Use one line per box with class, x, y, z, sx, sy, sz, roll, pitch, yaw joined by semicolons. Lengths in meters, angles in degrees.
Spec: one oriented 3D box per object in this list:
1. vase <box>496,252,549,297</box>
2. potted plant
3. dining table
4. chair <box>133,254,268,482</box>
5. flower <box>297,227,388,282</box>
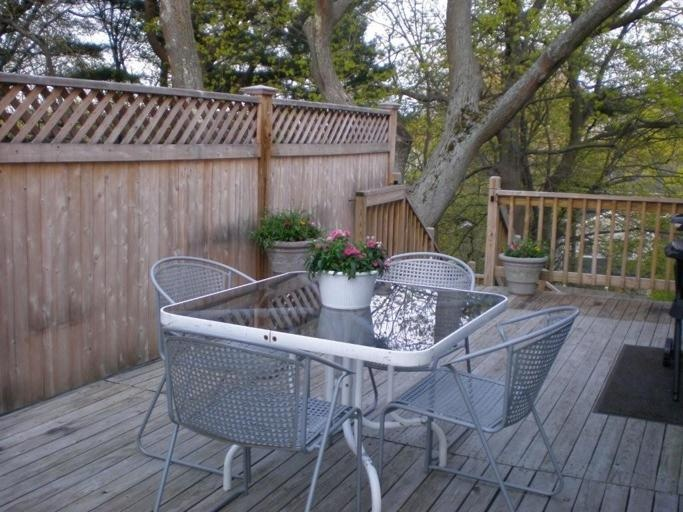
vase;2.100;0.203;6.926;0.437;0.392;0.477;2;0;3
potted plant;-0.502;-0.148;5.377;0.538;0.655;0.572;0;-1;5
dining table;-0.025;0.312;3.105;1.207;0.885;1.306;4;7;28
chair;-1.002;0.594;4.118;0.978;1.658;1.046;2;3;35
flower;0.035;0.020;3.382;0.421;0.325;0.528;-4;-11;16
